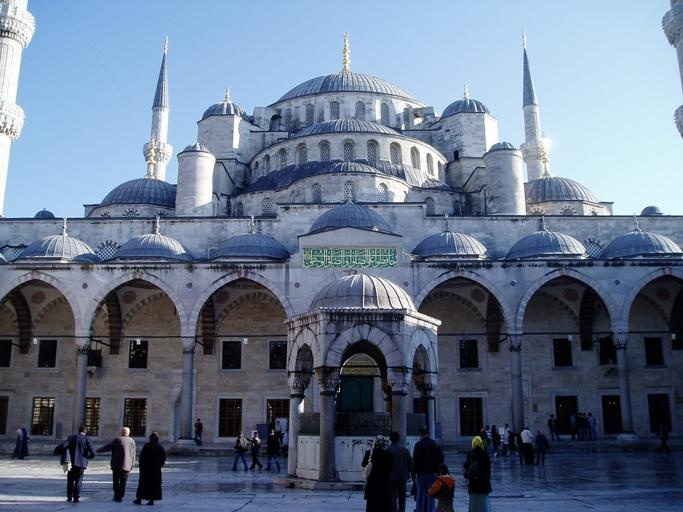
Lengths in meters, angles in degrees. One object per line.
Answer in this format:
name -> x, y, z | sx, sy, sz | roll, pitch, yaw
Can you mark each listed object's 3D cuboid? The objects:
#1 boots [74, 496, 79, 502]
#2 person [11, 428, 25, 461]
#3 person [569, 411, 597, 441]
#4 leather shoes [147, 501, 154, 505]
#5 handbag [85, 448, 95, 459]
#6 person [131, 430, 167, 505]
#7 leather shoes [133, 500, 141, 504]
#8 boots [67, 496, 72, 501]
boots -> -6.197, 5.736, 20.189 | 0.134, 0.131, 0.070 | 8, -27, -11
person -> -10.843, 6.292, 29.005 | 0.474, 1.208, 0.691 | -5, 15, -22
person -> 9.936, 7.015, 35.255 | 0.982, 1.122, 1.703 | 3, 14, 10
leather shoes -> -4.386, 5.713, 19.900 | 0.138, 0.115, 0.133 | -3, 15, -16
handbag -> -5.999, 4.732, 20.576 | 0.281, 0.273, 0.171 | 2, 2, 2
person -> -4.468, 4.991, 20.109 | 0.727, 1.811, 0.906 | -2, 14, -12
leather shoes -> -4.716, 5.754, 20.043 | 0.187, 0.134, 0.076 | -4, -20, 27
boots -> -6.373, 5.744, 20.289 | 0.089, 0.084, 0.083 | 0, -24, -7
